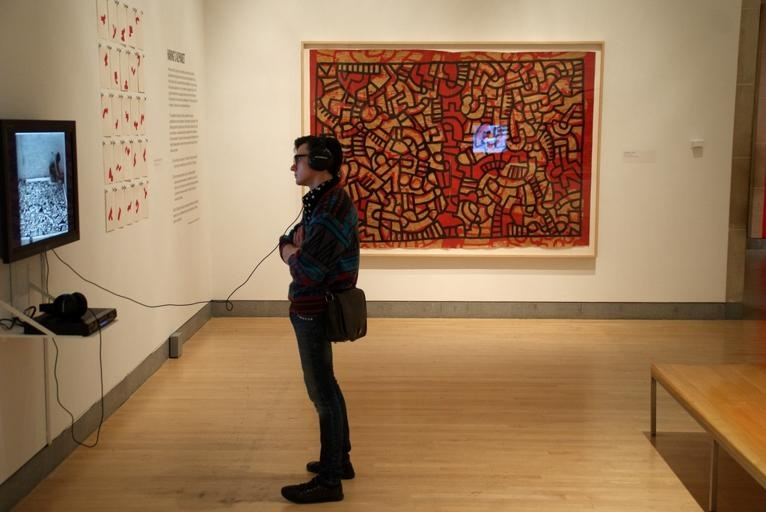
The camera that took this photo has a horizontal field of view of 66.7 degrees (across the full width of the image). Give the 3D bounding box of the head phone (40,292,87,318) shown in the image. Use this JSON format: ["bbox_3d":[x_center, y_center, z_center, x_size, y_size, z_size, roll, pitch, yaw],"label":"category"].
[{"bbox_3d":[-1.935,0.298,3.539,0.219,0.121,0.167,0,3,13],"label":"head phone"}]

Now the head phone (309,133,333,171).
[{"bbox_3d":[-0.398,-0.645,3.637,0.134,0.285,0.312,1,3,-8],"label":"head phone"}]

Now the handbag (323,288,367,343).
[{"bbox_3d":[-0.240,0.350,3.497,0.182,0.302,0.315,1,5,24],"label":"handbag"}]

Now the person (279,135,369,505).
[{"bbox_3d":[-0.388,0.420,3.654,0.542,2.261,0.469,0,14,-3],"label":"person"}]

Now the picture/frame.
[{"bbox_3d":[0.833,-1.325,6.566,2.551,1.828,0.092,-1,7,2],"label":"picture/frame"}]
